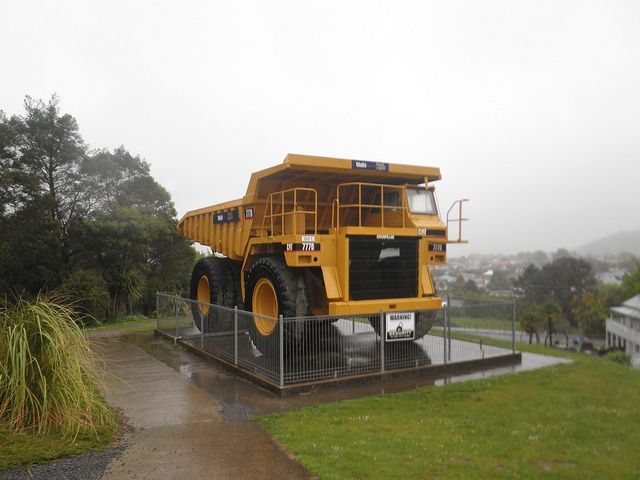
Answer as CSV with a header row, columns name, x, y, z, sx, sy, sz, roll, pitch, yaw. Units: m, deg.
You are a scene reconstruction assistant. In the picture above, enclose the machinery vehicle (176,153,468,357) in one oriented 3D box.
name,x,y,z,sx,sy,sz,roll,pitch,yaw
machinery vehicle,-0.459,0.449,13.108,3.544,3.991,6.830,3,-6,-30
